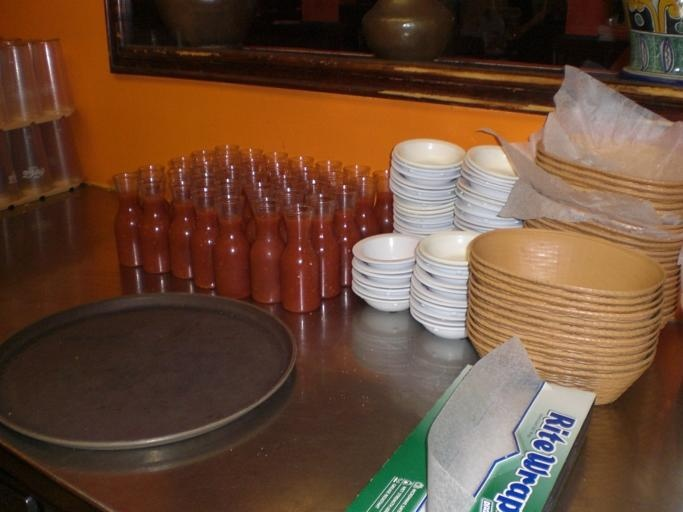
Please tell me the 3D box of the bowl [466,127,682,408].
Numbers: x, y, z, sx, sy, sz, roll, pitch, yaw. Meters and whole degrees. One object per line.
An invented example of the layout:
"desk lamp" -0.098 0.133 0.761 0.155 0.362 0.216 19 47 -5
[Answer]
"bowl" 0.382 0.005 1.162 0.319 0.259 0.405 -11 25 -18

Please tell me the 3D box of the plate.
"plate" 0.207 -0.113 1.484 0.416 0.518 0.427 -10 22 -34
